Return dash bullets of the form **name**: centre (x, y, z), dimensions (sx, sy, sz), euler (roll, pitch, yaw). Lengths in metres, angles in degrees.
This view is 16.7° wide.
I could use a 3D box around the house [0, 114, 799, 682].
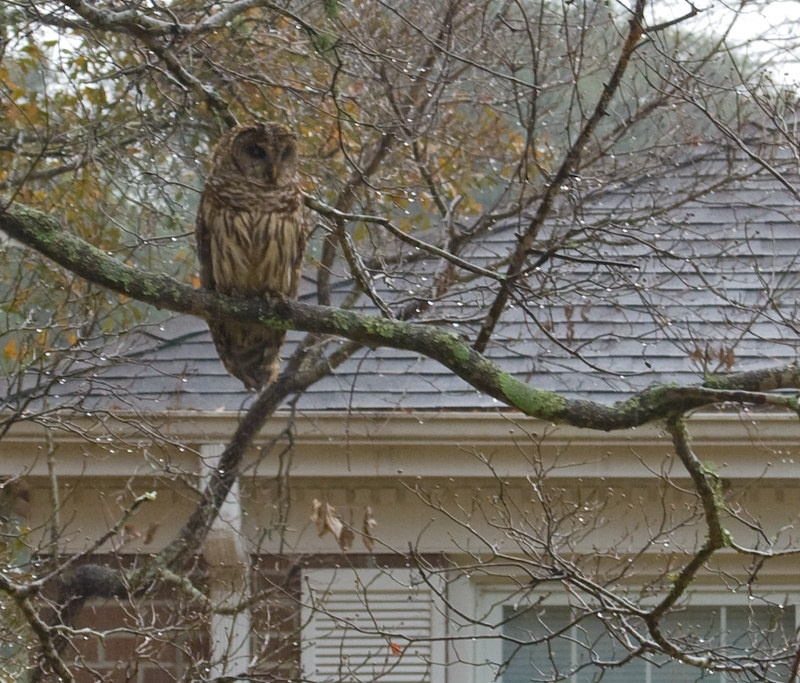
- **house**: centre (0.169, 0.034, 20.010), dimensions (4.903, 4.449, 1.895), euler (4, -78, 14)
